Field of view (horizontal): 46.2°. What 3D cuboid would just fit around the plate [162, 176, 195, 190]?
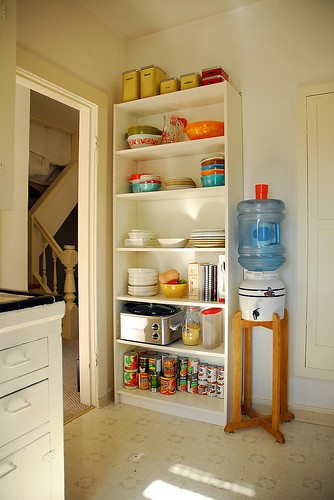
[{"bbox_3d":[0.075,-0.406,2.368,0.183,0.081,0.091,-1,2,13],"label":"plate"}]

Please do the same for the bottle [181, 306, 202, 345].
[{"bbox_3d":[0.154,0.457,2.405,0.118,0.246,0.083,-1,1,2],"label":"bottle"}]

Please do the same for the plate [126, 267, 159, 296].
[{"bbox_3d":[-0.161,0.196,2.610,0.174,0.155,0.182,1,2,40],"label":"plate"}]

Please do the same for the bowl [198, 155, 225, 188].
[{"bbox_3d":[0.267,-0.452,2.246,0.156,0.183,0.113,-1,2,18],"label":"bowl"}]

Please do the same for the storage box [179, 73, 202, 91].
[{"bbox_3d":[0.133,-0.986,2.291,0.102,0.070,0.106,1,4,32],"label":"storage box"}]

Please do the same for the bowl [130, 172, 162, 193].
[{"bbox_3d":[-0.141,-0.420,2.541,0.153,0.076,0.150,-1,3,0],"label":"bowl"}]

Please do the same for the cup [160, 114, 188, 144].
[{"bbox_3d":[0.074,-0.757,2.486,0.211,0.180,0.100,-3,2,-43],"label":"cup"}]

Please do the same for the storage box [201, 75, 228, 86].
[{"bbox_3d":[0.265,-0.961,2.219,0.086,0.030,0.090,10,20,40],"label":"storage box"}]

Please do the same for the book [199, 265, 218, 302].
[{"bbox_3d":[0.251,0.191,2.335,0.105,0.211,0.051,-1,1,14],"label":"book"}]

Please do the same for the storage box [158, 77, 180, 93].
[{"bbox_3d":[0.009,-0.992,2.372,0.100,0.069,0.104,-1,1,37],"label":"storage box"}]

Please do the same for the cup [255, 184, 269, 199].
[{"bbox_3d":[0.522,-0.320,2.127,0.057,0.106,0.170,-1,2,17],"label":"cup"}]

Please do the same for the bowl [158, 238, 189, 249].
[{"bbox_3d":[0.041,-0.046,2.408,0.184,0.055,0.092,-1,2,5],"label":"bowl"}]

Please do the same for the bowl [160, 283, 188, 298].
[{"bbox_3d":[0.055,0.268,2.476,0.114,0.061,0.118,0,-9,0],"label":"bowl"}]

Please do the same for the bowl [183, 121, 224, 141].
[{"bbox_3d":[0.230,-0.680,2.288,0.166,0.068,0.149,3,1,-20],"label":"bowl"}]
